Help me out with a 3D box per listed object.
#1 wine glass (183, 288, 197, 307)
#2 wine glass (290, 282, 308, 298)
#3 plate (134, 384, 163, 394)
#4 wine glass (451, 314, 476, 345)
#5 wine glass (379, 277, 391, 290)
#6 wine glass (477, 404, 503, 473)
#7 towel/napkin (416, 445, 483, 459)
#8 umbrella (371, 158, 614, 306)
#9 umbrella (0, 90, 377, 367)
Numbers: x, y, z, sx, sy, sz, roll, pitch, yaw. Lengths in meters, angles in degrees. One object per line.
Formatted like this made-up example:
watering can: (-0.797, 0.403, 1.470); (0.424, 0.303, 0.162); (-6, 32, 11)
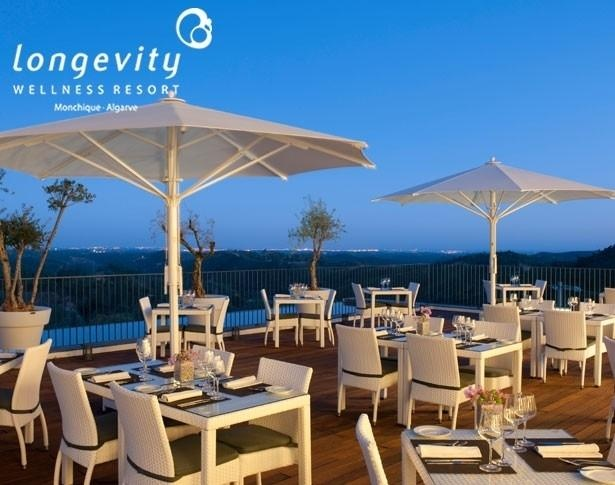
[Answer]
wine glass: (-2.205, 1.033, 9.004); (0.280, 0.322, 0.285); (2, -7, -9)
wine glass: (-0.226, 1.025, 10.499); (0.286, 0.275, 0.292); (0, -2, 30)
plate: (-1.228, 1.124, 3.738); (0.177, 0.020, 0.178); (1, 4, 1)
wine glass: (1.823, 1.034, 5.770); (0.272, 0.406, 0.263); (-2, -2, 25)
wine glass: (2.061, 1.109, 13.121); (0.324, 0.462, 0.329); (-1, 5, 3)
wine glass: (0.930, 0.963, 2.495); (0.115, 0.329, 0.272); (-1, -3, 18)
towel/napkin: (0.745, 1.110, 2.576); (0.162, 0.024, 0.117); (0, -2, -3)
umbrella: (3.287, -0.914, 9.168); (3.542, 2.600, 3.358); (-2, 5, -31)
umbrella: (-1.427, -0.196, 5.155); (3.768, 2.594, 3.034); (-2, -4, 26)
